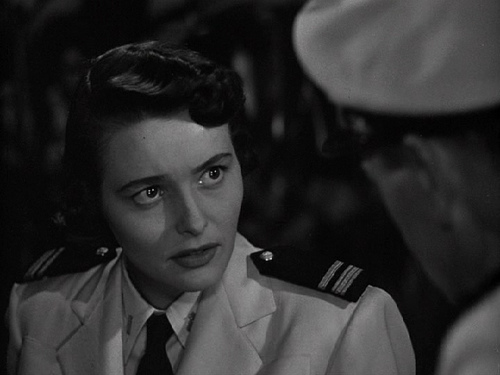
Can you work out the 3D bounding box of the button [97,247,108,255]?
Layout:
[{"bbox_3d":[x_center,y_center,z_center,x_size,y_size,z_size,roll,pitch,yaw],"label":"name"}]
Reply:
[{"bbox_3d":[-0.456,0.197,1.975,0.035,0.025,0.023,-5,-6,6],"label":"button"}]

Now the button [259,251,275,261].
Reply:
[{"bbox_3d":[0.054,0.202,1.921,0.026,0.012,0.029,-11,26,-16],"label":"button"}]

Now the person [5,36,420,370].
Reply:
[{"bbox_3d":[-0.201,0.148,1.889,1.248,1.191,0.375,-11,16,18],"label":"person"}]
